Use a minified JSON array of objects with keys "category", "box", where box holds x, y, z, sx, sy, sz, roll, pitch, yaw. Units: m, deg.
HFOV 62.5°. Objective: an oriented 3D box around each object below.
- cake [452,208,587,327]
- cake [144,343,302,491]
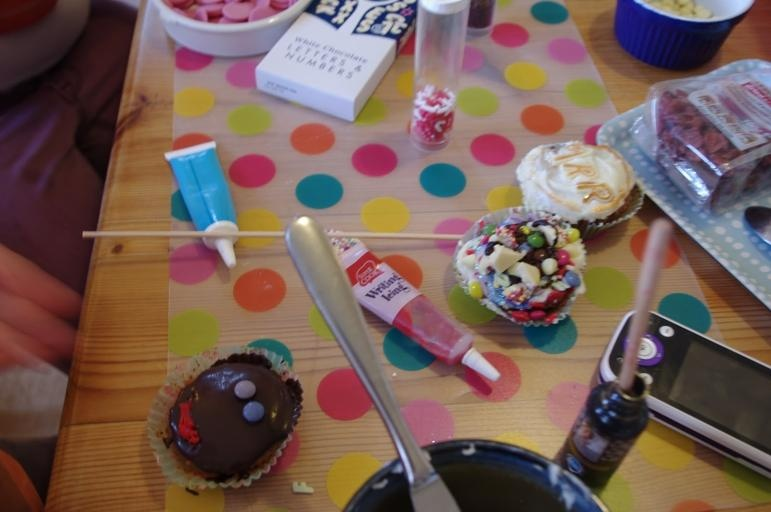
[{"category":"cake","box":[0.193,0.021,0.880,0.164,0.088,0.149,-15,62,-16]},{"category":"cake","box":[-0.203,0.199,0.811,0.195,0.066,0.172,-1,59,-8]}]
